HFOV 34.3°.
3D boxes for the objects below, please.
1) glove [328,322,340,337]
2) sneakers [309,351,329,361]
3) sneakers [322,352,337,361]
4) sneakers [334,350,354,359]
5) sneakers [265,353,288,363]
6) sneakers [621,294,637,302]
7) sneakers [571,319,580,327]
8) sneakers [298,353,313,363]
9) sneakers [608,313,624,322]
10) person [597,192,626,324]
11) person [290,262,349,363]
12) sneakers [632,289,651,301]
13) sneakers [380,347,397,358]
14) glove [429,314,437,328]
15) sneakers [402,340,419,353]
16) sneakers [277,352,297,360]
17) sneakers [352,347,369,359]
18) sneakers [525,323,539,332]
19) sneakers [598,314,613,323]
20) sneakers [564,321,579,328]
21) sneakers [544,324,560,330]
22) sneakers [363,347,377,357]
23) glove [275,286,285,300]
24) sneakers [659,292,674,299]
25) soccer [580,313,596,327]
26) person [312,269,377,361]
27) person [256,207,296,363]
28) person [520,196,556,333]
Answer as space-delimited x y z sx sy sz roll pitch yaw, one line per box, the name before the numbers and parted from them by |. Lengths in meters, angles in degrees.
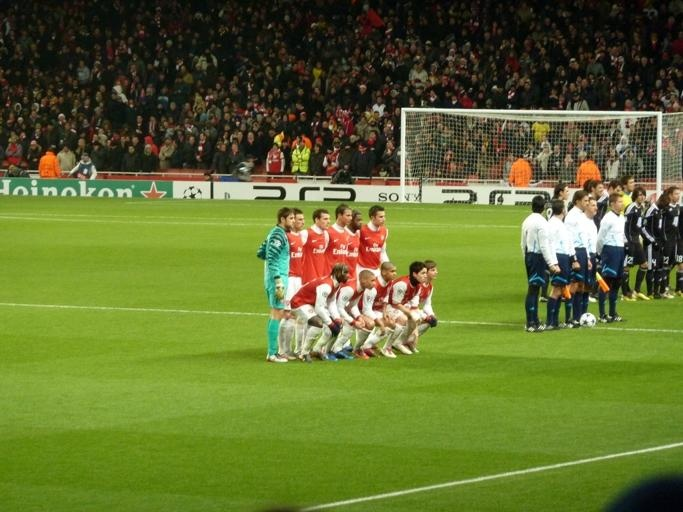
glove | -0.086 0.899 13.679 0.180 0.188 0.097 -3 9 -18
sneakers | -0.273 1.259 14.021 0.284 0.133 0.098 3 -2 6
sneakers | -0.157 1.271 14.062 0.217 0.155 0.076 -6 -3 13
sneakers | 0.035 1.249 14.084 0.253 0.119 0.093 -1 5 -1
sneakers | -0.811 1.270 13.858 0.271 0.119 0.093 1 5 0
sneakers | 4.764 0.692 18.287 0.097 0.127 0.277 -5 0 -30
sneakers | 3.367 0.958 15.913 0.097 0.050 0.135 1 2 5
sneakers | -0.454 1.284 13.889 0.068 0.074 0.167 -1 -2 -39
sneakers | 4.031 0.899 16.299 0.283 0.123 0.094 -2 8 -36
person | 4.037 0.000 16.554 0.407 1.799 0.919 2 9 13
person | -0.297 0.760 13.799 0.681 1.104 0.415 0 8 2
sneakers | 4.965 0.666 18.346 0.324 0.134 0.121 18 18 6
sneakers | 0.601 1.231 14.182 0.080 0.095 0.230 -11 17 -39
glove | 1.214 0.845 14.395 0.108 0.127 0.142 2 -7 -14
sneakers | 0.905 1.168 14.354 0.232 0.102 0.081 22 3 42
sneakers | -0.685 1.255 13.898 0.235 0.103 0.086 1 6 5
sneakers | 0.242 1.251 14.094 0.214 0.095 0.083 1 -1 19
sneakers | 2.682 1.010 15.552 0.161 0.086 0.096 -3 3 38
sneakers | 3.901 0.927 16.263 0.078 0.100 0.214 1 -8 -8
sneakers | 3.291 0.980 15.871 0.230 0.109 0.087 -3 1 9
sneakers | 2.988 1.011 15.681 0.233 0.106 0.076 -2 2 -36
sneakers | 0.369 1.219 14.142 0.192 0.086 0.072 18 5 34
glove | -0.763 0.452 13.622 0.099 0.152 0.061 1 8 10
sneakers | 5.426 0.652 18.391 0.178 0.080 0.105 -1 2 29
soccer | 3.514 0.919 15.790 0.199 0.195 0.225 2 9 10
person | 0.063 0.778 14.039 0.657 1.203 0.520 15 9 20
person | -0.786 0.364 13.860 0.343 1.854 0.562 0 8 1
person | 2.829 0.091 15.783 0.500 1.832 0.918 1 8 7
